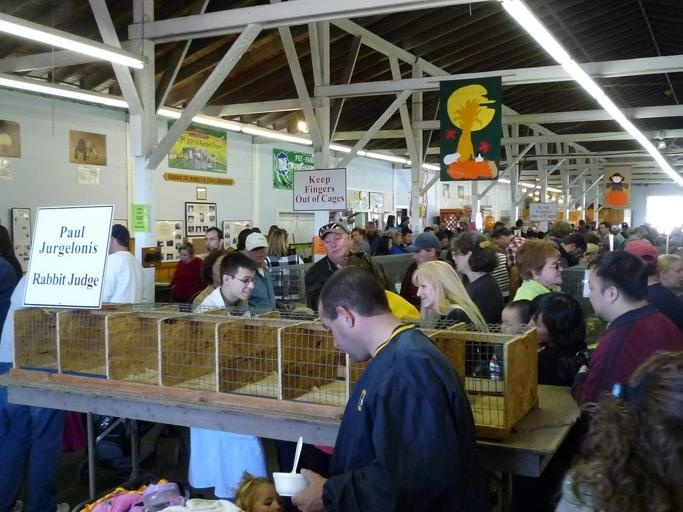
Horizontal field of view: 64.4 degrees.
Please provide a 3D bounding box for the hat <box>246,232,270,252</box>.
[{"bbox_3d":[-0.948,-0.150,5.887,0.234,0.178,0.376,2,1,-19],"label":"hat"}]

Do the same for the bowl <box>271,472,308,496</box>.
[{"bbox_3d":[-0.224,0.923,2.232,0.113,0.073,0.111,2,-18,1],"label":"bowl"}]

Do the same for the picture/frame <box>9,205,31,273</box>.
[{"bbox_3d":[-5.817,-0.383,9.825,0.038,0.968,0.379,10,10,20],"label":"picture/frame"}]

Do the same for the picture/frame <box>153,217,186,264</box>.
[{"bbox_3d":[-3.616,-0.303,11.278,0.042,1.239,1.080,0,1,28],"label":"picture/frame"}]

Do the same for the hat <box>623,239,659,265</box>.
[{"bbox_3d":[2.271,-0.027,4.121,0.181,0.243,0.232,5,0,-36],"label":"hat"}]

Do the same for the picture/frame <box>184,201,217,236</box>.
[{"bbox_3d":[-3.551,-0.901,13.612,0.031,0.848,1.154,4,5,25],"label":"picture/frame"}]

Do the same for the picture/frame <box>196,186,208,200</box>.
[{"bbox_3d":[-3.530,-1.528,13.594,0.016,0.343,0.379,3,2,28],"label":"picture/frame"}]

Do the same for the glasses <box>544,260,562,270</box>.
[{"bbox_3d":[1.810,0.078,4.670,0.133,0.041,0.131,-2,1,-35],"label":"glasses"}]

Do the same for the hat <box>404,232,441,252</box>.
[{"bbox_3d":[0.903,-0.150,5.986,0.293,0.155,0.209,2,5,18],"label":"hat"}]
